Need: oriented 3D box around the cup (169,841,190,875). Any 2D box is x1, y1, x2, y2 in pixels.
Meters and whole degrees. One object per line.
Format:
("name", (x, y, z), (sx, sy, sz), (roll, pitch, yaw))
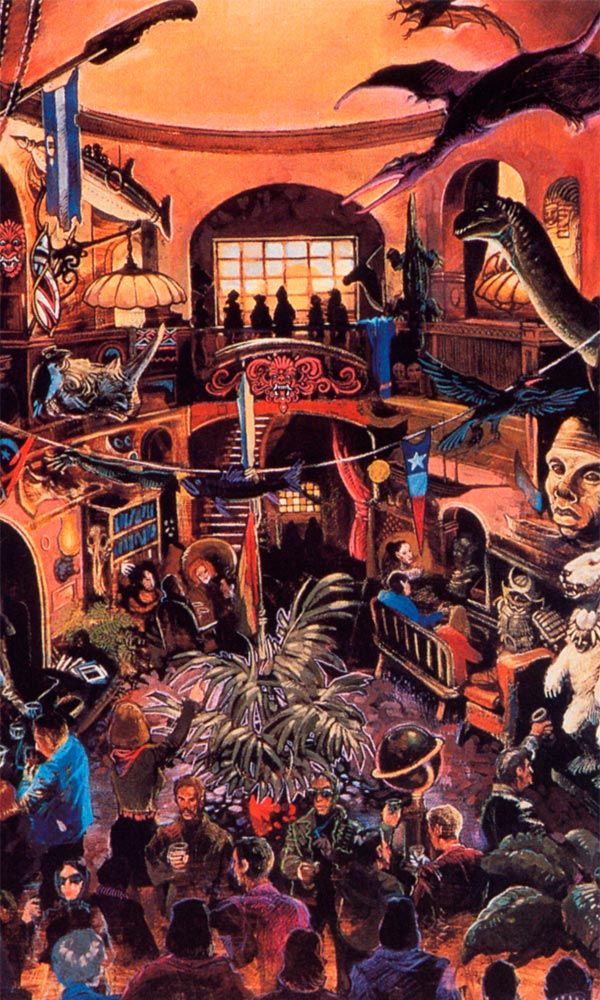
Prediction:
("cup", (-0.750, 2.194, 5.191), (0.107, 0.185, 0.178), (2, -4, -37))
